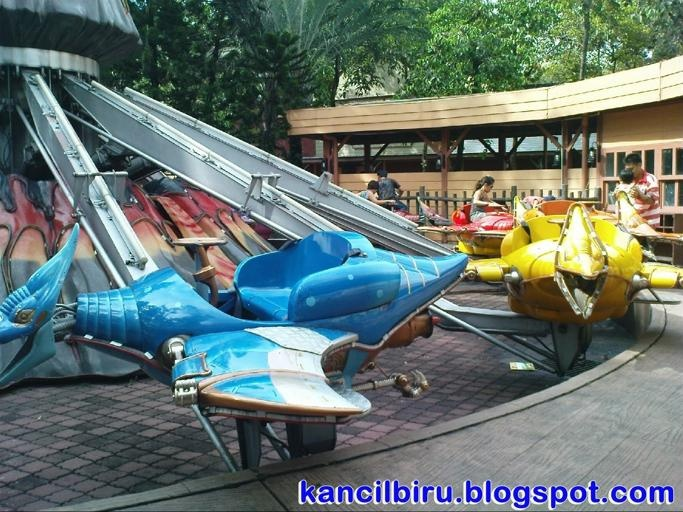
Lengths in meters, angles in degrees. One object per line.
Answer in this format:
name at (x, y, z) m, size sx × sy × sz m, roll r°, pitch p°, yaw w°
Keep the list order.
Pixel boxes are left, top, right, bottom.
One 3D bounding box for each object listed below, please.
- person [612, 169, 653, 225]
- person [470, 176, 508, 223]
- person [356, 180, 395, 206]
person at (4.791, -1.184, 9.624) m, size 0.468 × 0.580 × 0.860 m, roll -6°, pitch 5°, yaw 26°
person at (3.046, -1.177, 12.107) m, size 0.774 × 0.836 × 0.931 m, roll 13°, pitch 16°, yaw 37°
person at (0.884, -1.541, 14.308) m, size 0.763 × 0.684 × 1.144 m, roll -7°, pitch 5°, yaw 4°
